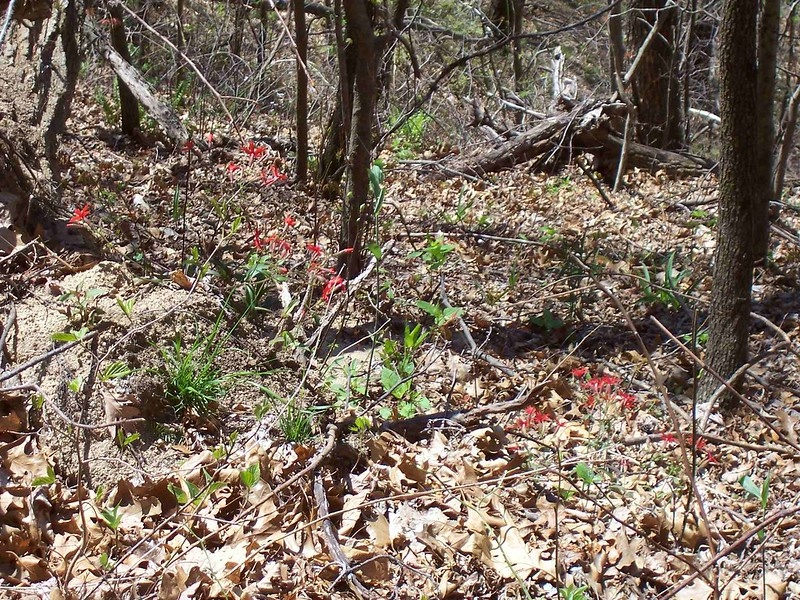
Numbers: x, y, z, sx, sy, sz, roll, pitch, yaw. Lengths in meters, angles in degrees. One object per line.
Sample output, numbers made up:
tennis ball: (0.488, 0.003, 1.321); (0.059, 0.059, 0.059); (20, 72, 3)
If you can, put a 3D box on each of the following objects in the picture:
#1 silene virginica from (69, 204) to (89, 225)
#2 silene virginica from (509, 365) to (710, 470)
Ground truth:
silene virginica: (-2.163, -0.573, 5.365); (0.140, 0.077, 0.152); (-33, 40, -15)
silene virginica: (1.332, 0.614, 4.902); (0.755, 0.184, 0.757); (38, 12, -2)
